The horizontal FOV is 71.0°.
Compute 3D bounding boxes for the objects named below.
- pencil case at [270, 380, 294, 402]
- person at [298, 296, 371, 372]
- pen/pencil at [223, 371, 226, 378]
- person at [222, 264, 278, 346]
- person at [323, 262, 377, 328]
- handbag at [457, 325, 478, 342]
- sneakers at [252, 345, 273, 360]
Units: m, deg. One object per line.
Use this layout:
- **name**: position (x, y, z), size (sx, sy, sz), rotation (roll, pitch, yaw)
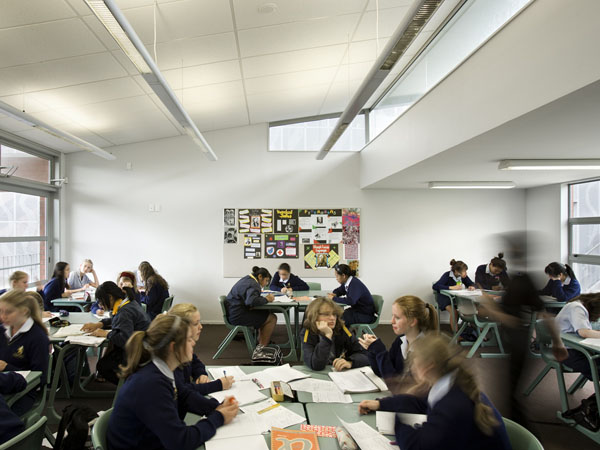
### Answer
- **pencil case**: position (-0.124, 1.214, 3.066), size (0.135, 0.041, 0.093), rotation (6, 11, -2)
- **person**: position (0.264, 1.050, 3.780), size (0.554, 0.723, 0.658), rotation (-5, 12, -26)
- **pen/pencil**: position (-0.590, 1.186, 3.351), size (0.023, 0.019, 0.083), rotation (-1, 0, -12)
- **person**: position (-0.644, 1.200, 5.866), size (0.793, 1.212, 0.621), rotation (4, -4, -18)
- **person**: position (0.723, 1.146, 5.877), size (0.738, 1.137, 0.531), rotation (-1, -5, 0)
- **handbag**: position (2.651, 1.693, 6.653), size (0.243, 0.308, 0.335), rotation (-6, -5, 12)
- **sneakers**: position (-0.377, 1.309, 4.334), size (0.199, 0.063, 0.310), rotation (-3, 10, -3)
